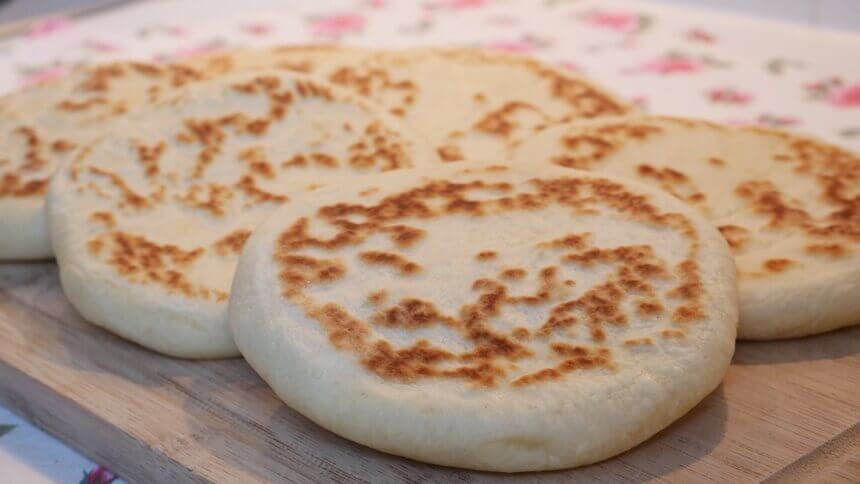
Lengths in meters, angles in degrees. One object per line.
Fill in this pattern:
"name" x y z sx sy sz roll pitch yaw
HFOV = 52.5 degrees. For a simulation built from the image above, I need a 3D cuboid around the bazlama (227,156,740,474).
"bazlama" 0.091 0.101 1.470 0.813 0.198 0.601 10 45 14
